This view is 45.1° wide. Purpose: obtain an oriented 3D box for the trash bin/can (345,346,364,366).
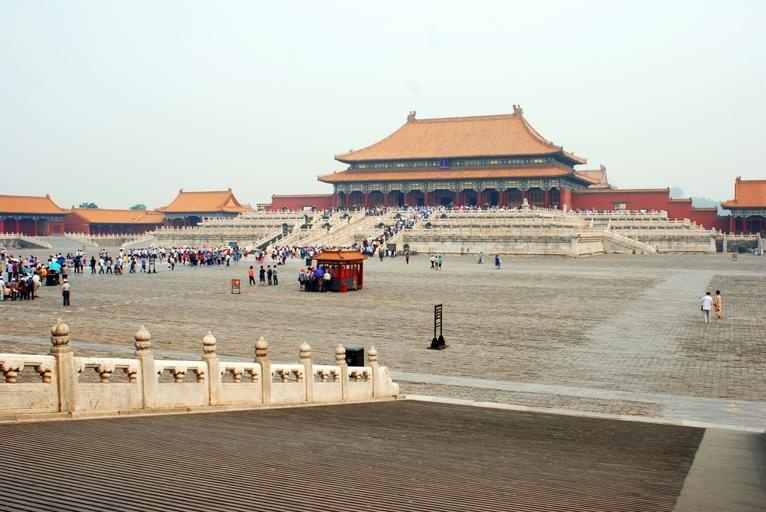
[{"bbox_3d":[-0.666,2.369,21.834,0.483,0.398,0.452,-4,1,-21],"label":"trash bin/can"}]
